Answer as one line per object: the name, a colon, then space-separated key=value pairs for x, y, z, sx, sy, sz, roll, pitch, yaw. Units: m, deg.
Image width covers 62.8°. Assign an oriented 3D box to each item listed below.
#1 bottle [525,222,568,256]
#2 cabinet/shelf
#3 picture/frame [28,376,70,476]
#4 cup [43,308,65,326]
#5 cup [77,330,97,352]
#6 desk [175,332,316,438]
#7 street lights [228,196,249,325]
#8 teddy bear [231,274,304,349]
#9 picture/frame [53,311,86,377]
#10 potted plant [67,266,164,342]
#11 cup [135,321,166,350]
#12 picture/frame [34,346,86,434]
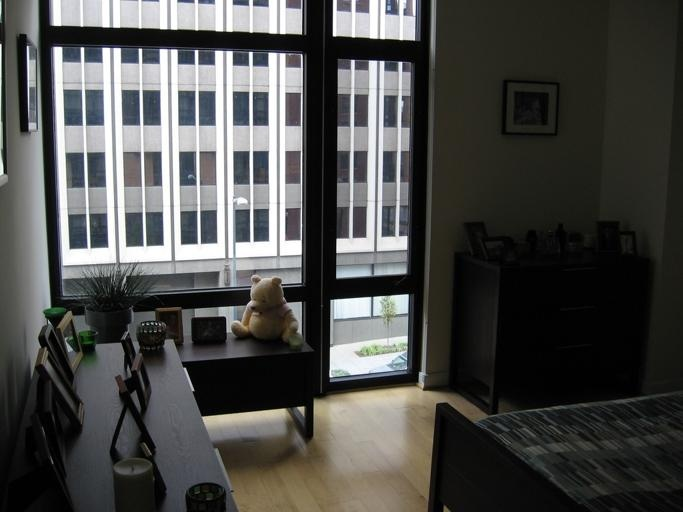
bottle: x=1.488 y=-0.106 z=4.019 sx=0.235 sy=0.204 sz=0.246 roll=-1 pitch=3 yaw=0
cabinet/shelf: x=1.536 y=0.557 z=4.228 sx=1.195 sy=1.131 sz=0.768 roll=-3 pitch=9 yaw=-10
picture/frame: x=-0.905 y=0.539 z=1.741 sx=0.023 sy=0.177 sz=0.232 roll=-12 pitch=43 yaw=-16
cup: x=-1.456 y=0.295 z=2.836 sx=0.092 sy=0.087 sz=0.098 roll=1 pitch=4 yaw=0
cup: x=-1.212 y=0.404 z=2.682 sx=0.077 sy=0.077 sz=0.085 roll=9 pitch=12 yaw=41
desk: x=-0.549 y=0.743 z=3.410 sx=0.786 sy=0.569 sz=0.439 roll=-3 pitch=34 yaw=-13
street lights: x=-0.772 y=0.024 z=4.101 sx=0.171 sy=1.159 sz=0.159 roll=-3 pitch=35 yaw=-17
teddy bear: x=-0.480 y=0.328 z=3.660 sx=0.431 sy=0.464 sz=0.315 roll=3 pitch=14 yaw=10
picture/frame: x=-1.215 y=0.395 z=2.516 sx=0.024 sy=0.236 sz=0.302 roll=-12 pitch=13 yaw=-15
potted plant: x=-1.349 y=0.334 z=3.308 sx=0.300 sy=0.542 sz=0.383 roll=-1 pitch=-1 yaw=-20
cup: x=-0.930 y=0.388 z=2.751 sx=0.132 sy=0.109 sz=0.121 roll=0 pitch=1 yaw=0
picture/frame: x=-0.988 y=0.480 z=1.964 sx=0.025 sy=0.283 sz=0.196 roll=-27 pitch=35 yaw=-11
